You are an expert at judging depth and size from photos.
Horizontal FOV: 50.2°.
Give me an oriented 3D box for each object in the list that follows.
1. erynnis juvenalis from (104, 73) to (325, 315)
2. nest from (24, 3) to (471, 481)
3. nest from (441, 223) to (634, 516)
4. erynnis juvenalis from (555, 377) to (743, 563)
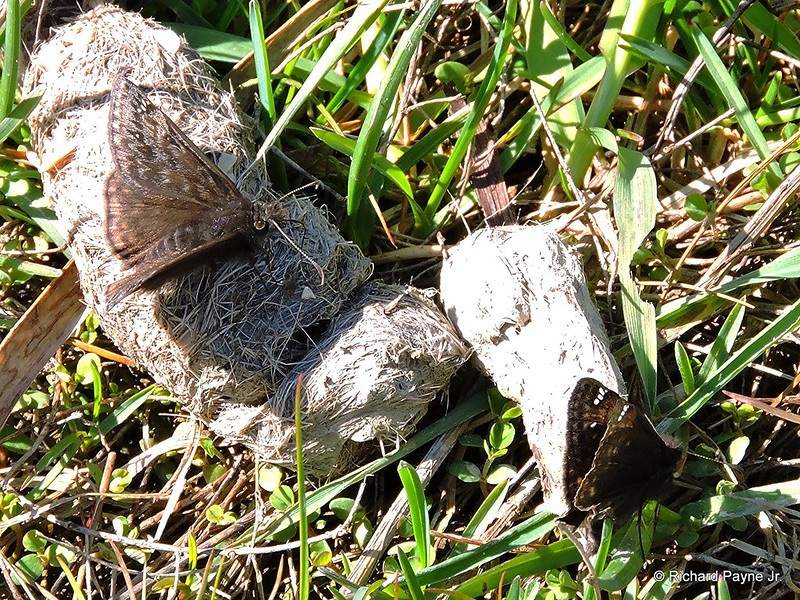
[{"bbox_3d":[-0.482,-0.290,2.239,0.523,0.605,0.440,17,101,43],"label":"erynnis juvenalis"},{"bbox_3d":[-0.479,-0.071,2.515,0.799,0.624,1.505,-36,86,-14],"label":"nest"},{"bbox_3d":[0.429,0.152,2.320,0.429,0.294,0.758,-38,60,27],"label":"nest"},{"bbox_3d":[0.605,0.415,2.155,0.386,0.434,0.319,-10,74,12],"label":"erynnis juvenalis"}]
